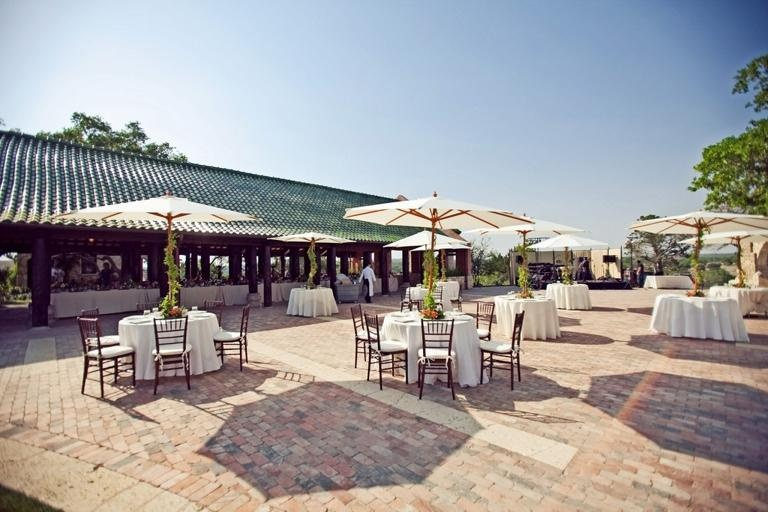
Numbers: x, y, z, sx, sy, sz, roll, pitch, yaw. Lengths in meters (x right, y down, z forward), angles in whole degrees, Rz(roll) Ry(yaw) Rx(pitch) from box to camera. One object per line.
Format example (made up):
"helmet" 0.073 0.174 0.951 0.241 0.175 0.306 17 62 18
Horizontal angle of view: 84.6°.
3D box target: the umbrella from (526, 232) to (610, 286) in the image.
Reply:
"umbrella" 10.774 0.339 24.912 3.282 1.997 3.285 2 -1 0

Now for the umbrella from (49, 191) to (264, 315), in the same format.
"umbrella" -6.389 0.032 12.150 3.438 3.725 5.490 -7 13 -35
